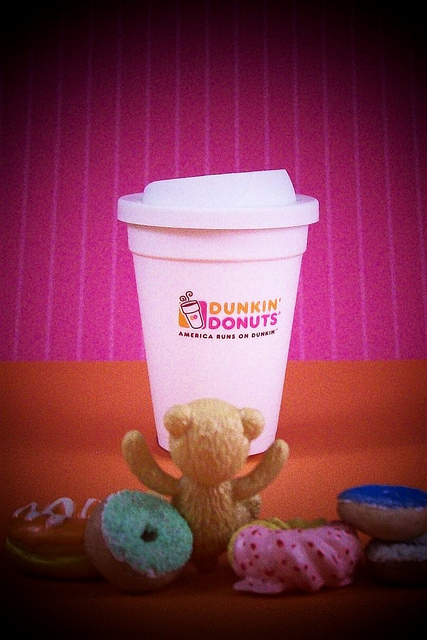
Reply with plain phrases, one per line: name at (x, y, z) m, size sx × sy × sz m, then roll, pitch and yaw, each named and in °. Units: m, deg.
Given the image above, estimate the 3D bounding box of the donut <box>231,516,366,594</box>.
donut at (0.107, 0.256, 0.763) m, size 0.105 × 0.047 × 0.116 m, roll -6°, pitch -6°, yaw 21°

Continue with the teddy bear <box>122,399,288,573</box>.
teddy bear at (-0.007, 0.216, 0.801) m, size 0.229 × 0.229 × 0.121 m, roll 1°, pitch 2°, yaw -6°

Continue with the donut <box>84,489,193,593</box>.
donut at (-0.085, 0.257, 0.743) m, size 0.096 × 0.096 × 0.112 m, roll 25°, pitch 38°, yaw 34°

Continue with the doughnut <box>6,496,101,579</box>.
doughnut at (-0.203, 0.284, 0.851) m, size 0.132 × 0.050 × 0.117 m, roll -1°, pitch 1°, yaw -25°
